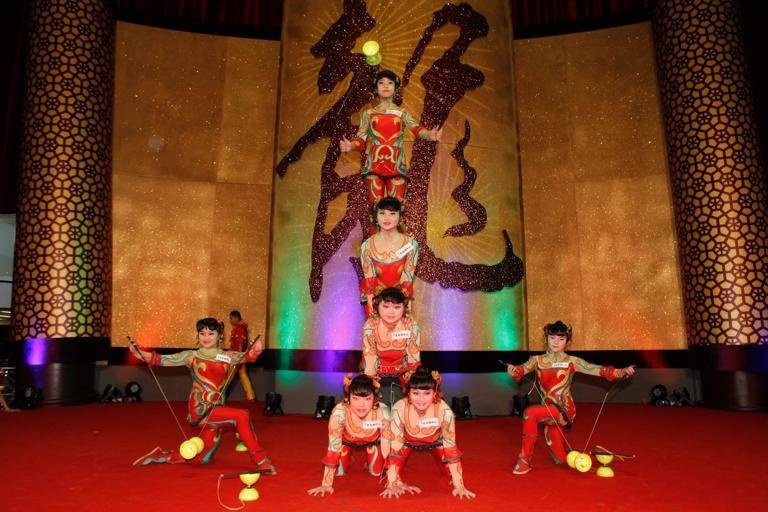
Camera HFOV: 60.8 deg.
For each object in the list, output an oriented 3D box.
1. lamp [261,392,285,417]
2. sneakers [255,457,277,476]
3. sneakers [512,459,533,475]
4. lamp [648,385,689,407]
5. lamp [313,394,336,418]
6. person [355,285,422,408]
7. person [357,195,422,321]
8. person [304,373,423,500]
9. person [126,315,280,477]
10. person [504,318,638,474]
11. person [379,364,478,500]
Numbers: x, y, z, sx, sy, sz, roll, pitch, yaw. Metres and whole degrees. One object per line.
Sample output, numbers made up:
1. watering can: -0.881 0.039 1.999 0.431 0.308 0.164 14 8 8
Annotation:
1. lamp: -1.504 2.015 8.890 0.243 0.358 0.296 3 -15 -8
2. sneakers: -1.112 1.982 6.201 0.192 0.163 0.310 -1 3 -11
3. sneakers: 1.320 2.011 6.242 0.171 0.118 0.157 1 3 12
4. lamp: 4.112 2.004 9.418 0.705 0.308 0.261 13 -18 -32
5. lamp: -0.772 1.960 8.527 0.218 0.337 0.305 0 -21 4
6. person: 0.092 1.099 6.503 0.706 1.550 0.738 4 32 5
7. person: 0.057 0.439 7.069 0.592 2.095 0.630 4 24 12
8. person: -0.144 1.633 6.000 0.761 1.002 0.983 3 6 9
9. person: -1.763 1.382 6.508 1.237 1.543 0.733 -5 6 7
10. person: 1.760 1.406 6.505 1.015 1.500 0.782 2 10 -5
11. person: 0.344 1.558 5.933 0.711 1.076 1.076 -1 2 -4
